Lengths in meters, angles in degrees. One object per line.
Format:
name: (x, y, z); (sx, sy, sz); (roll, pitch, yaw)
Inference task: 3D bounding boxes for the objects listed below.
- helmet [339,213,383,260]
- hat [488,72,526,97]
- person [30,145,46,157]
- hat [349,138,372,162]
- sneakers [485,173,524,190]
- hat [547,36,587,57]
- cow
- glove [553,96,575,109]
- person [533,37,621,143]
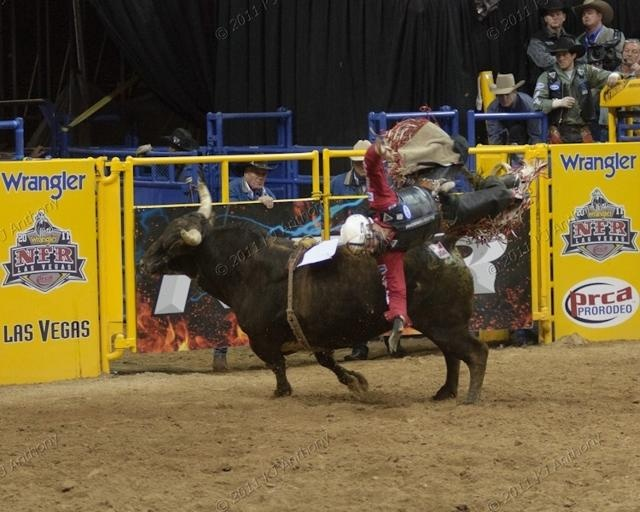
helmet: (0.354, -0.178, 9.536); (0.341, 0.322, 0.332); (-3, -1, -5)
hat: (2.378, -2.188, 14.422); (0.326, 0.265, 0.438); (-3, -1, 27)
person: (-4.665, -1.723, 18.767); (0.236, 0.197, 1.028); (-3, -1, -13)
hat: (0.445, -1.156, 12.326); (0.325, 0.304, 0.116); (4, -47, 4)
sneakers: (1.578, -0.641, 9.672); (0.243, 0.068, 0.139); (0, -2, -9)
hat: (3.029, -2.610, 13.945); (0.411, 0.115, 0.337); (0, 0, 17)
cow: (-0.040, 0.355, 10.383); (3.426, 1.639, 1.085); (2, -3, 17)
glove: (2.973, -1.870, 13.794); (0.267, 0.140, 0.207); (-3, -1, 9)
person: (3.072, -2.048, 13.958); (0.863, 1.281, 0.488); (-3, -1, -17)
